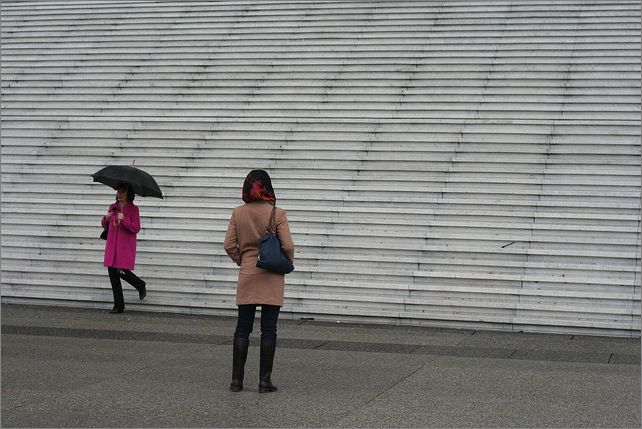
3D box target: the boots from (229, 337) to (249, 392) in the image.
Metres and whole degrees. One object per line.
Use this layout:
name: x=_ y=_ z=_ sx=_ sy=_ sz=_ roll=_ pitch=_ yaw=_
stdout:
boots: x=-1.273 y=2.308 z=13.327 sx=0.213 sy=0.683 sz=0.193 roll=4 pitch=1 yaw=-7

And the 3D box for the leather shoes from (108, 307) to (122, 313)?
leather shoes: x=-4.003 y=1.849 z=16.782 sx=0.229 sy=0.080 sz=0.109 roll=4 pitch=2 yaw=-11

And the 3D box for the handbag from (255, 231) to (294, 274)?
handbag: x=-0.728 y=0.572 z=13.280 sx=0.721 sy=0.593 sz=0.281 roll=4 pitch=-11 yaw=-18

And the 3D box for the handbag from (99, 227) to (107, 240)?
handbag: x=-4.233 y=0.358 z=16.784 sx=0.080 sy=0.204 sz=0.163 roll=34 pitch=-16 yaw=-11

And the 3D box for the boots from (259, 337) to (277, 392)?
boots: x=-0.808 y=2.326 z=13.329 sx=0.300 sy=0.699 sz=0.210 roll=4 pitch=1 yaw=-4
